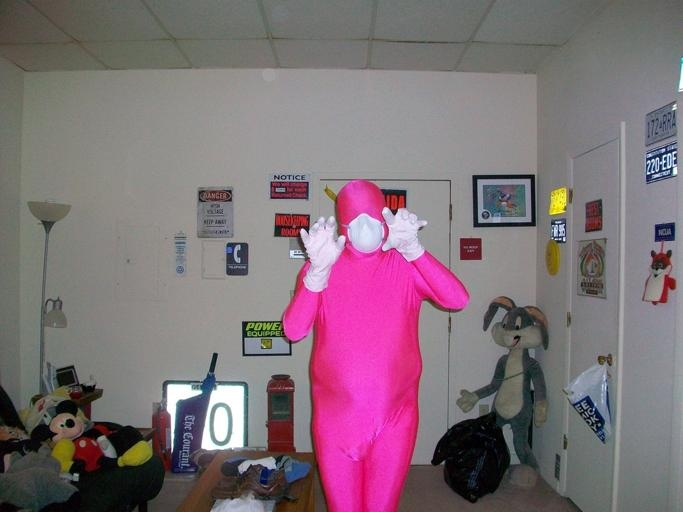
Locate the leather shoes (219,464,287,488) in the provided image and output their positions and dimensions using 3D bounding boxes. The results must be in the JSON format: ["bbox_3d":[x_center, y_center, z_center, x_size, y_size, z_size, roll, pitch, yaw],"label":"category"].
[{"bbox_3d":[-0.576,1.439,3.672,0.236,0.098,0.186,6,-8,-16],"label":"leather shoes"}]

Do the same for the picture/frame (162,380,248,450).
[{"bbox_3d":[-1.117,1.331,4.662,0.515,0.603,0.041,0,-8,-4],"label":"picture/frame"}]

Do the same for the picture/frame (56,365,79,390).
[{"bbox_3d":[-2.301,1.010,4.690,0.009,0.157,0.145,-14,0,28],"label":"picture/frame"}]

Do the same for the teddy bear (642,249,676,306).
[{"bbox_3d":[2.067,0.134,3.640,0.184,0.355,0.089,-1,-2,31],"label":"teddy bear"}]

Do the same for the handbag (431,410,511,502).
[{"bbox_3d":[1.073,1.584,4.530,0.565,0.679,0.480,2,7,12],"label":"handbag"}]

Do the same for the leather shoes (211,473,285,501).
[{"bbox_3d":[-0.590,1.478,3.640,0.269,0.110,0.218,2,-8,5],"label":"leather shoes"}]

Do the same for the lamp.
[{"bbox_3d":[-2.475,0.357,4.746,0.315,1.608,0.500,1,-2,-29],"label":"lamp"}]
